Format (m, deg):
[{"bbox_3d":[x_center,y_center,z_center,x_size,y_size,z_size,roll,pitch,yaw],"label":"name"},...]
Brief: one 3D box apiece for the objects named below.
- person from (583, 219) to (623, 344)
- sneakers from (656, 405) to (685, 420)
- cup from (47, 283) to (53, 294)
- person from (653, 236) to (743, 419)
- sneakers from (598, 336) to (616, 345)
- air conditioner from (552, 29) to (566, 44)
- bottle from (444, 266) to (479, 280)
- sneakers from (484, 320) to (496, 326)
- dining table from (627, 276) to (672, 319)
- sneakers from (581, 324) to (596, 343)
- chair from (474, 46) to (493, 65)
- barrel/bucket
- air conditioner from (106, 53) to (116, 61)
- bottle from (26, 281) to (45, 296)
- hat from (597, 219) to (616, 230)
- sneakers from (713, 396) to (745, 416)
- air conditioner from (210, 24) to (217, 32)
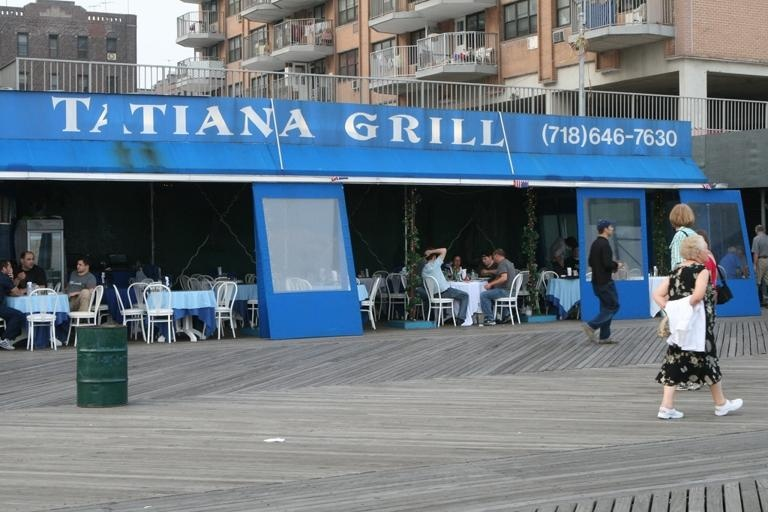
[{"bbox_3d":[4.351,0.519,21.686,0.597,2.440,1.036,2,10,11],"label":"person"},{"bbox_3d":[4.191,2.302,15.933,0.437,0.194,0.161,-1,3,-24],"label":"sneakers"},{"bbox_3d":[-7.222,0.719,23.536,0.144,0.154,0.269,5,3,-13],"label":"cup"},{"bbox_3d":[4.605,1.045,16.090,1.194,2.625,1.069,1,10,2],"label":"person"},{"bbox_3d":[4.378,1.695,21.561,0.397,0.176,0.139,0,2,-21],"label":"sneakers"},{"bbox_3d":[5.965,-7.556,37.398,0.194,0.483,0.787,-3,11,-17],"label":"air conditioner"},{"bbox_3d":[1.780,0.476,26.225,0.445,0.233,0.604,1,-2,-28],"label":"bottle"},{"bbox_3d":[2.402,1.562,24.932,0.286,0.121,0.103,4,1,-12],"label":"sneakers"},{"bbox_3d":[5.459,0.886,22.735,1.080,0.825,1.115,1,2,33],"label":"dining table"},{"bbox_3d":[4.064,1.562,21.687,0.155,0.356,0.125,-22,11,-1],"label":"sneakers"},{"bbox_3d":[3.623,-7.377,40.076,0.731,0.758,0.556,8,9,36],"label":"chair"},{"bbox_3d":[-4.300,1.688,16.570,0.754,1.212,0.414,-2,10,-15],"label":"barrel/bucket"},{"bbox_3d":[-18.637,-13.660,74.505,0.645,0.554,0.796,-3,11,-16],"label":"air conditioner"},{"bbox_3d":[-7.082,0.684,22.073,0.257,0.285,0.446,1,-6,-15],"label":"bottle"},{"bbox_3d":[4.392,-0.596,21.596,0.282,0.170,0.196,-22,19,-20],"label":"hat"},{"bbox_3d":[5.082,2.242,16.018,0.492,0.201,0.184,-18,17,-21],"label":"sneakers"},{"bbox_3d":[-9.057,-12.107,57.747,0.329,0.489,0.405,4,-5,-45],"label":"air conditioner"}]
